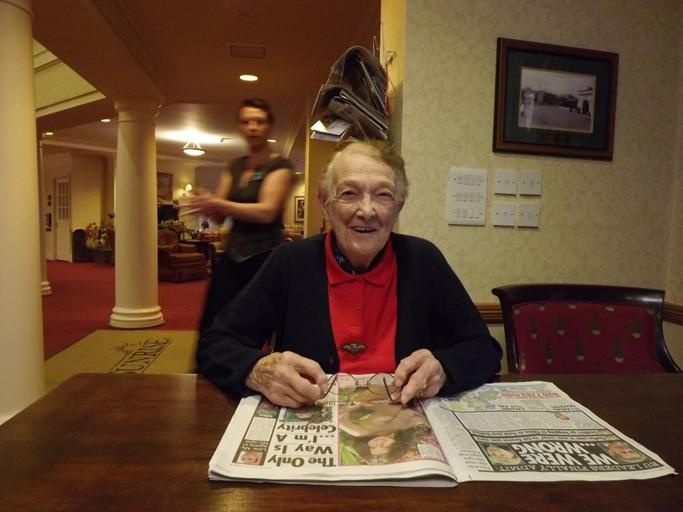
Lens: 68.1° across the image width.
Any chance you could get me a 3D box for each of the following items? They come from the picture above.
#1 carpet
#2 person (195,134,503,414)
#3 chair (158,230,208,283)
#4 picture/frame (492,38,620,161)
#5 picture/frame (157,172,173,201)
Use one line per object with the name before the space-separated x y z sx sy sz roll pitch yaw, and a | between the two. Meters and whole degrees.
carpet | -1.872 0.836 4.391 0.910 0.006 0.825 2 7 4
person | 0.040 0.096 1.747 1.049 0.952 0.735 1 8 0
chair | -2.927 -0.032 8.861 0.913 0.842 0.745 1 5 29
picture/frame | 1.041 -0.789 2.493 0.543 0.471 0.044 8 5 -12
picture/frame | -4.676 -1.828 13.368 0.177 0.743 0.603 3 6 20
